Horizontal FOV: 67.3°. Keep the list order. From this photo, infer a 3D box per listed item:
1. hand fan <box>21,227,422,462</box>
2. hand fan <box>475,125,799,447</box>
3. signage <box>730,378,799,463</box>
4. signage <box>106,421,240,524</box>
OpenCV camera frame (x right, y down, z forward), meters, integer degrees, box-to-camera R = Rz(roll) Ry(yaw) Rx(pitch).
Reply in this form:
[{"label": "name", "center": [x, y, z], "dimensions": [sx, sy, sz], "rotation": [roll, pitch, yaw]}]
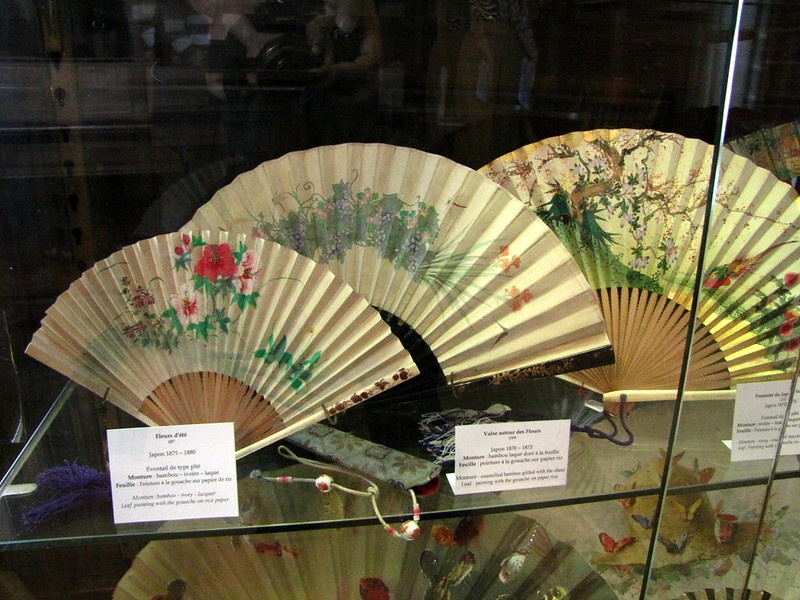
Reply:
[{"label": "hand fan", "center": [-0.284, 0.070, 0.947], "dimensions": [0.602, 0.352, 0.082], "rotation": [-4, -3, 5]}, {"label": "hand fan", "center": [0.425, -0.013, 1.066], "dimensions": [0.703, 0.377, 0.028], "rotation": [7, 3, 5]}, {"label": "signage", "center": [0.635, 0.206, 1.051], "dimensions": [0.190, 0.105, 0.008], "rotation": [-2, 11, -5]}, {"label": "signage", "center": [-0.366, 0.241, 0.933], "dimensions": [0.193, 0.134, 0.124], "rotation": [5, 34, -21]}]
